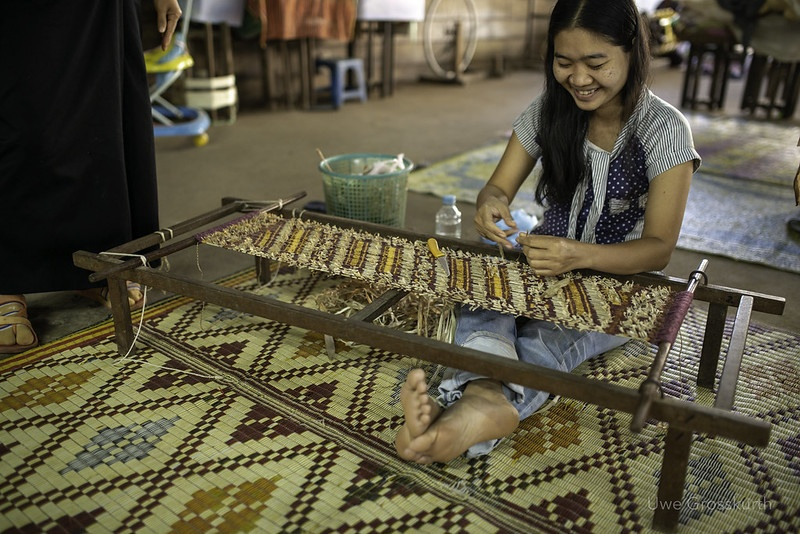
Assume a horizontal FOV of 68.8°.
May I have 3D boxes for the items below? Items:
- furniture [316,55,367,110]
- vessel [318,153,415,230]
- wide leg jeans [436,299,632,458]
[{"bbox_3d":[-0.262,-0.873,2.735,0.181,0.155,0.175,-27,45,-32],"label":"furniture"},{"bbox_3d":[-0.157,-0.405,3.264,0.501,0.335,0.480,-18,32,-28],"label":"vessel"},{"bbox_3d":[0.435,0.294,2.102,0.529,0.150,0.627,20,45,34],"label":"wide leg jeans"}]
